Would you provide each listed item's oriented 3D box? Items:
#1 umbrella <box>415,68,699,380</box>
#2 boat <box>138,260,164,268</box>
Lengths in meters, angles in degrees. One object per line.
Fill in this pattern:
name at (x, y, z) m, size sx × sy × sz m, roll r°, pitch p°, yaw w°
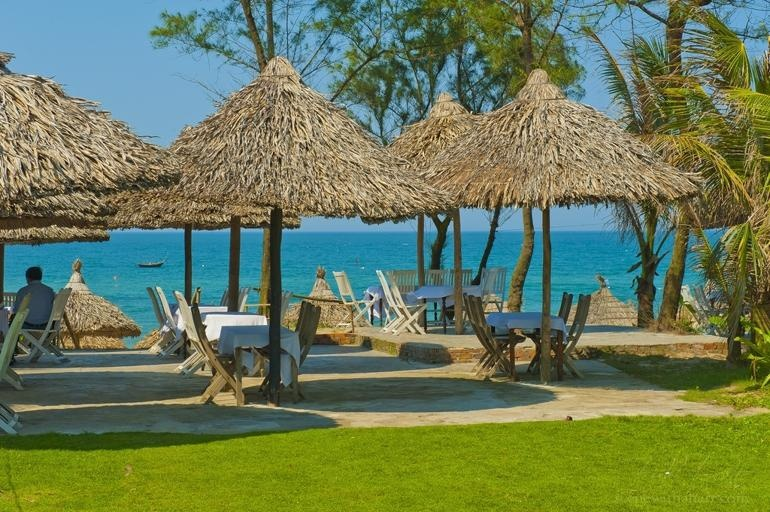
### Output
umbrella at (3.659, -0.567, 19.929) m, size 5.272 × 4.911 × 5.226 m, roll -1°, pitch 2°, yaw 18°
boat at (-21.302, 0.793, 94.350) m, size 2.962 × 0.511 × 1.004 m, roll 1°, pitch 11°, yaw 30°
